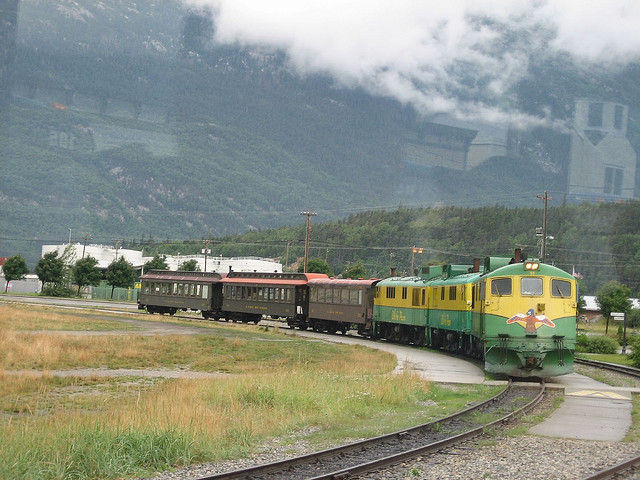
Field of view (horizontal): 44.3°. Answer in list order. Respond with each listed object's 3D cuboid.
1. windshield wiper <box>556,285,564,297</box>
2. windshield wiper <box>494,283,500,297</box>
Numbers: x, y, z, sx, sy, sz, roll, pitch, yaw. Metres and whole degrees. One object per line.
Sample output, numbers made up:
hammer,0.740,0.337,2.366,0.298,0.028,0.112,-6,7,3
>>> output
windshield wiper,10.703,2.256,35.259,0.067,0.546,0.068,-31,-16,9
windshield wiper,8.029,2.247,35.591,0.082,0.534,0.084,-17,-6,31
